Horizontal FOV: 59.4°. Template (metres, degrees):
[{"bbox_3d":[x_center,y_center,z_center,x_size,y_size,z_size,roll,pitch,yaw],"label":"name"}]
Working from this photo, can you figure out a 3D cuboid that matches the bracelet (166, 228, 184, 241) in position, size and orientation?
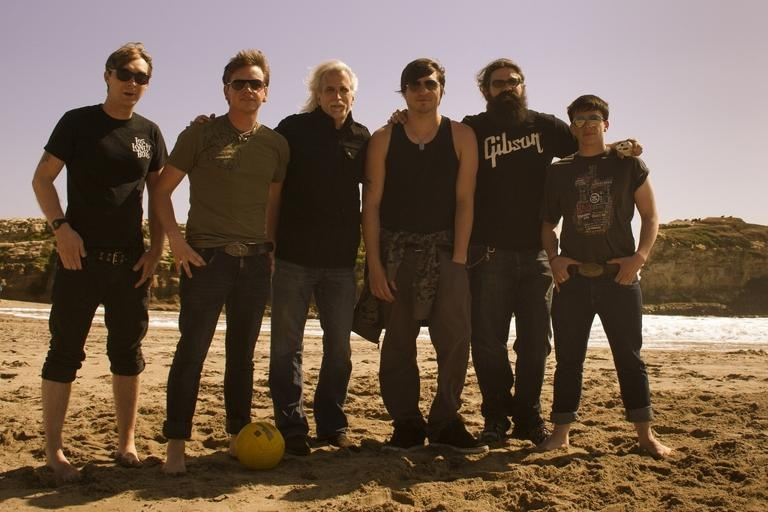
[{"bbox_3d":[-1.964,-0.208,6.368,0.162,0.103,0.389,-1,4,-17],"label":"bracelet"}]

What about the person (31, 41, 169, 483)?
[{"bbox_3d":[-2.589,-0.017,6.366,0.743,3.776,1.278,9,7,42],"label":"person"}]

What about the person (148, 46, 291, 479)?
[{"bbox_3d":[-1.534,0.002,6.551,0.731,3.910,1.384,4,3,44],"label":"person"}]

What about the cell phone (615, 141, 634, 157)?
[{"bbox_3d":[2.388,-1.084,6.705,0.239,0.169,0.101,2,2,26],"label":"cell phone"}]

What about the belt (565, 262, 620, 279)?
[{"bbox_3d":[2.058,0.135,6.631,0.465,0.144,0.057,1,4,16],"label":"belt"}]

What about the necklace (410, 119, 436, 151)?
[{"bbox_3d":[0.400,-1.214,6.752,0.234,0.232,0.067,-8,-34,18],"label":"necklace"}]

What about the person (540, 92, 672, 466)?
[{"bbox_3d":[2.156,0.152,6.745,1.133,3.527,0.554,0,4,12],"label":"person"}]
